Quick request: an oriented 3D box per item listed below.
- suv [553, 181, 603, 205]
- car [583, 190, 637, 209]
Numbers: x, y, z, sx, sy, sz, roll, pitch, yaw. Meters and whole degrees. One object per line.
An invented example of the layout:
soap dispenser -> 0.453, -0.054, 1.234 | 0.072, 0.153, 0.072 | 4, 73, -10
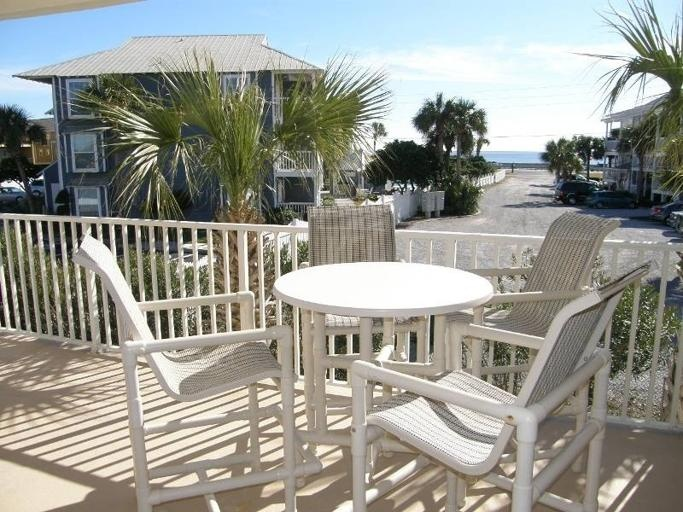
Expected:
suv -> 13.918, -3.788, 34.862 | 2.119, 1.038, 1.263 | -4, 13, 11
car -> 14.763, -3.069, 32.501 | 2.293, 0.952, 1.259 | -3, 14, 0
